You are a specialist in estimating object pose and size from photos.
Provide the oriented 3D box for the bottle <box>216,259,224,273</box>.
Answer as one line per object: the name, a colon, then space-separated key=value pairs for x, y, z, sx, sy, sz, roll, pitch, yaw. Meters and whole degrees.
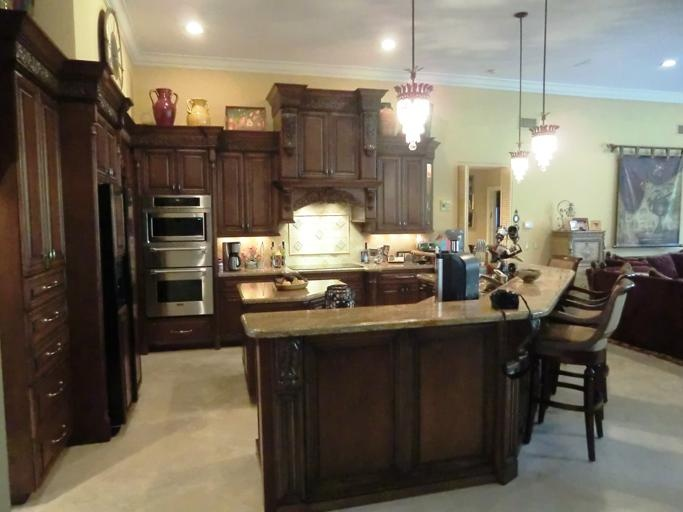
bottle: x=-1.625 y=0.128 z=7.573 sx=0.146 sy=0.213 sz=0.151 roll=-1 pitch=-2 yaw=0

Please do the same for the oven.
oven: x=-2.172 y=0.056 z=7.510 sx=0.887 sy=1.639 sz=0.789 roll=-3 pitch=-12 yaw=-13

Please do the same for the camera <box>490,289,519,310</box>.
camera: x=1.290 y=0.340 z=4.395 sx=0.166 sy=0.090 sz=0.139 roll=-2 pitch=10 yaw=1

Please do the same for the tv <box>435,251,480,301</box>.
tv: x=0.944 y=0.159 z=4.924 sx=0.391 sy=0.595 sz=0.345 roll=-1 pitch=6 yaw=-5

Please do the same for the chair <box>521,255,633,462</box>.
chair: x=2.227 y=0.882 z=5.154 sx=0.781 sy=1.503 sz=1.227 roll=2 pitch=8 yaw=28

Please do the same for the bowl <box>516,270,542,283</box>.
bowl: x=1.877 y=0.190 z=5.581 sx=0.151 sy=0.085 sz=0.157 roll=0 pitch=3 yaw=0

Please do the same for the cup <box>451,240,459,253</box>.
cup: x=1.063 y=-0.089 z=5.230 sx=0.101 sy=0.123 sz=0.105 roll=-1 pitch=3 yaw=0

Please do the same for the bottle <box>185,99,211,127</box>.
bottle: x=-1.868 y=-1.868 z=7.326 sx=0.355 sy=0.447 sz=0.327 roll=1 pitch=6 yaw=0

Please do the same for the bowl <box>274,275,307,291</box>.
bowl: x=-0.535 y=0.269 z=5.920 sx=0.331 sy=0.141 sz=0.296 roll=-3 pitch=7 yaw=-9

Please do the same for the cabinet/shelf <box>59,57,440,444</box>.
cabinet/shelf: x=-1.154 y=-0.163 z=6.106 sx=3.969 sy=3.957 sz=2.093 roll=-2 pitch=4 yaw=-19

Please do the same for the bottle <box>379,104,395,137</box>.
bottle: x=0.632 y=-1.949 z=8.062 sx=0.301 sy=0.478 sz=0.277 roll=-3 pitch=4 yaw=0

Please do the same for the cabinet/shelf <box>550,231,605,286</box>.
cabinet/shelf: x=3.895 y=0.007 z=9.121 sx=0.618 sy=0.817 sz=0.431 roll=-1 pitch=1 yaw=-13
